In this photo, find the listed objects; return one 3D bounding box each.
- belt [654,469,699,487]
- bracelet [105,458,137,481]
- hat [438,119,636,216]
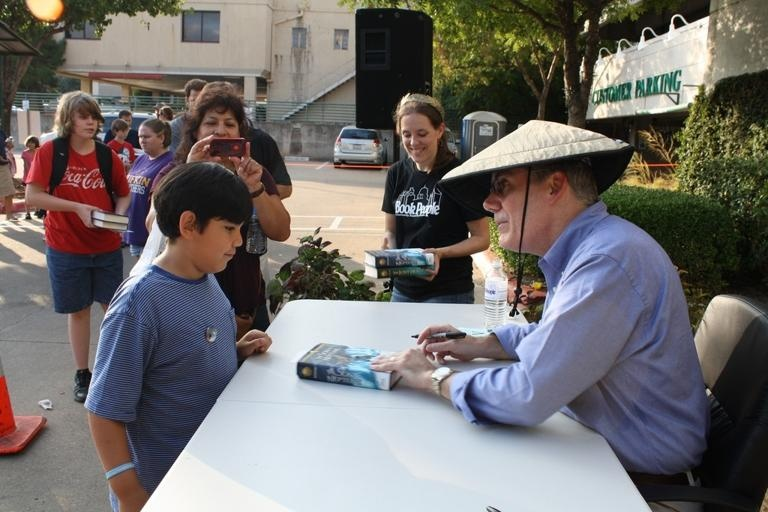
[{"bbox_3d":[1.315,0.970,2.766,0.163,0.073,0.123,-5,-4,9],"label":"belt"},{"bbox_3d":[-1.164,0.920,2.746,0.109,0.086,0.151,4,7,-20],"label":"bracelet"},{"bbox_3d":[0.720,-0.451,2.887,0.704,0.261,0.537,-8,-17,12],"label":"hat"}]
